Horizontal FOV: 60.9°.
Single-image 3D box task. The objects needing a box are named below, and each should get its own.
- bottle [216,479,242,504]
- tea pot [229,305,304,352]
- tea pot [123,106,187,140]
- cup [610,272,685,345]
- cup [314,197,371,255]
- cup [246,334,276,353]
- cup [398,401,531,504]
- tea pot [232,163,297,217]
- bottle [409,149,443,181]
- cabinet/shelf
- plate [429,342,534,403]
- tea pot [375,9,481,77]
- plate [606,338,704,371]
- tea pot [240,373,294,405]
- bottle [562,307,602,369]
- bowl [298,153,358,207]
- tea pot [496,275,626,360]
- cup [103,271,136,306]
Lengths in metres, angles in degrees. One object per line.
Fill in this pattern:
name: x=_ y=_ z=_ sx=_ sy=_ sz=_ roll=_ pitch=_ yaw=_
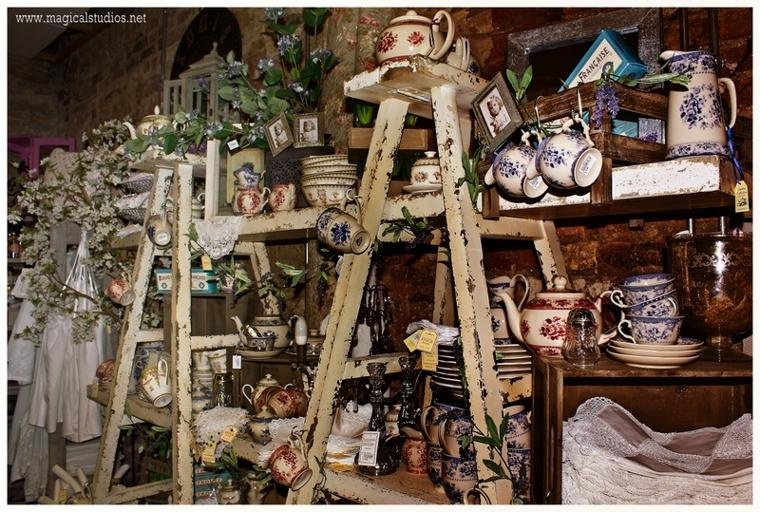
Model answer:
bottle: x=-0.723 y=1.148 z=3.182 sx=0.118 sy=0.134 sz=0.120 roll=-4 pitch=-14 yaw=19
tea pot: x=-0.540 y=0.388 z=3.253 sx=0.317 sy=0.161 sz=0.180 roll=1 pitch=2 yaw=1
tea pot: x=-1.281 y=-0.734 z=3.731 sx=0.347 sy=0.234 sz=0.241 roll=-8 pitch=7 yaw=-31
cup: x=0.993 y=0.199 z=2.499 sx=0.268 sy=0.217 sz=0.225 roll=-9 pitch=-1 yaw=6
cup: x=-0.151 y=-0.107 z=2.701 sx=0.236 sy=0.212 sz=0.115 roll=-2 pitch=-7 yaw=0
cup: x=-0.588 y=0.434 z=3.217 sx=0.102 sy=0.062 sz=0.093 roll=-1 pitch=-1 yaw=0
cup: x=0.341 y=0.785 z=2.626 sx=0.463 sy=0.336 sz=0.305 roll=-1 pitch=1 yaw=-38
tea pot: x=-0.575 y=-0.300 z=3.257 sx=0.338 sy=0.367 sz=0.231 roll=2 pitch=-2 yaw=5
bottle: x=0.196 y=-0.372 z=2.773 sx=0.128 sy=0.114 sz=0.127 roll=4 pitch=-4 yaw=-30
cabinet/shelf: x=-0.428 y=0.148 z=3.185 sx=2.839 sy=1.984 sz=0.918 roll=-4 pitch=-8 yaw=36
plate: x=0.393 y=0.489 z=2.707 sx=0.256 sy=0.249 sz=0.475 roll=2 pitch=-9 yaw=-32
tea pot: x=0.181 y=-0.874 z=2.617 sx=0.354 sy=0.296 sz=0.277 roll=0 pitch=3 yaw=31
plate: x=1.016 y=0.363 z=2.403 sx=0.328 sy=0.113 sz=0.124 roll=-5 pitch=-8 yaw=19
tea pot: x=-0.586 y=0.660 z=3.272 sx=0.225 sy=0.153 sz=0.159 roll=0 pitch=0 yaw=17
bottle: x=0.770 y=0.307 z=2.474 sx=0.140 sy=0.217 sz=0.141 roll=3 pitch=3 yaw=0
bowl: x=-0.243 y=-0.347 z=3.015 sx=0.268 sy=0.195 sz=0.243 roll=-4 pitch=0 yaw=-32
tea pot: x=0.756 y=0.274 z=2.639 sx=0.557 sy=0.377 sz=0.382 roll=-10 pitch=-14 yaw=16
cup: x=-1.426 y=0.207 z=3.658 sx=0.195 sy=0.141 sz=0.145 roll=11 pitch=-13 yaw=-32
